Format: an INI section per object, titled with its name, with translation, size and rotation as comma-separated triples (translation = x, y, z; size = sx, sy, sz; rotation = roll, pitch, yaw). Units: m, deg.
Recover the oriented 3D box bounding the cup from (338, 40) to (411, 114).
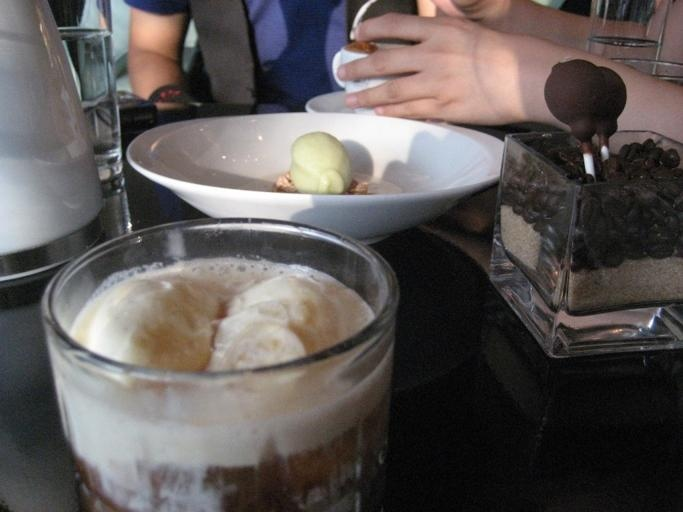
[cup]
translation = 0.055, -0.361, 1.233
size = 0.185, 0.123, 0.132
rotation = 1, 28, 12
